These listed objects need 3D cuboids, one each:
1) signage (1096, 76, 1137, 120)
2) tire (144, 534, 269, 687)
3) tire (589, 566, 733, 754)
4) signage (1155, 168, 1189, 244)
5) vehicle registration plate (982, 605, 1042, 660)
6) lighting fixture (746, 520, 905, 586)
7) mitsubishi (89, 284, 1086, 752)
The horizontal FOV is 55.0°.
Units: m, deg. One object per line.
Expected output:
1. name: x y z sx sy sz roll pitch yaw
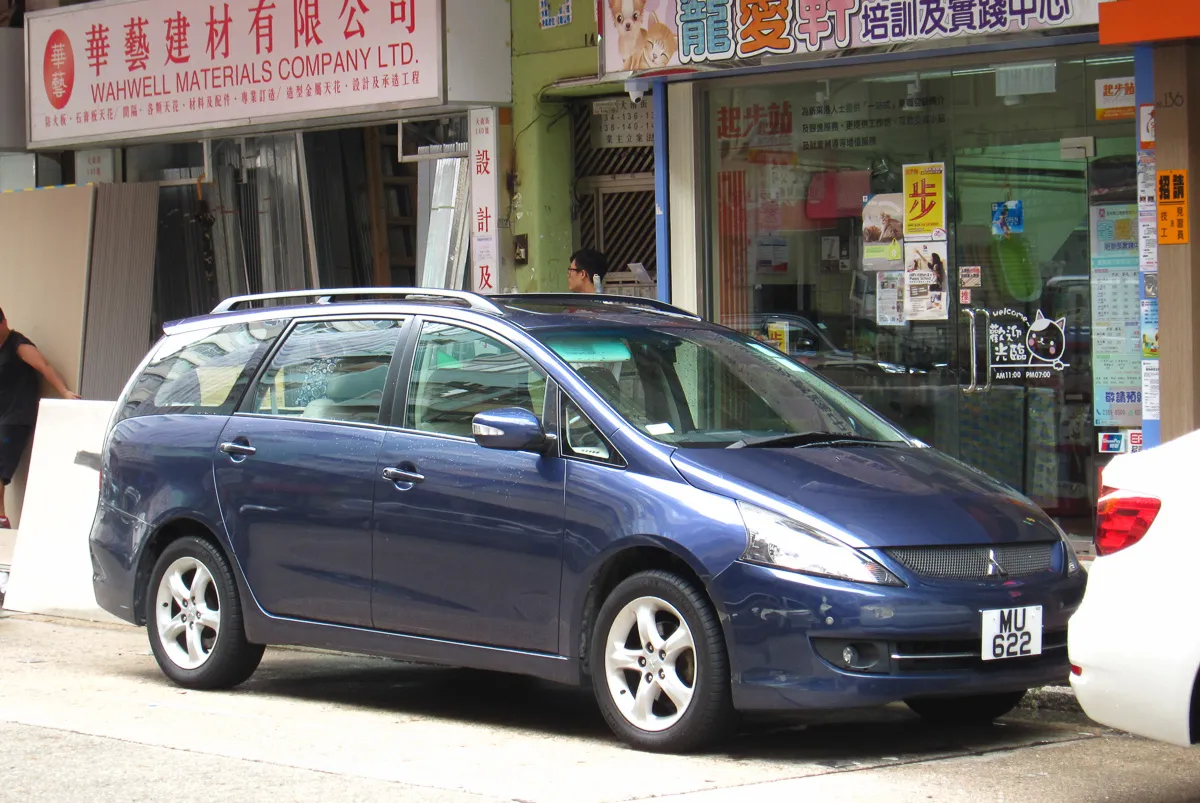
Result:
1. signage: 4.399 -2.566 9.770 0.040 0.361 0.395 3 -9 -41
2. tire: -2.529 1.357 7.489 1.032 1.011 0.357 1 -1 40
3. tire: 0.194 1.327 5.819 0.901 0.869 0.282 15 -21 -42
4. signage: 4.594 -1.549 9.224 0.225 0.600 0.040 -1 -1 24
5. vehicle registration plate: 2.002 1.111 5.579 0.416 0.235 0.076 0 -1 -36
6. lighting fixture: 1.007 0.764 5.455 0.531 0.184 0.323 22 -19 -19
7. mitsubishi: -0.196 0.673 7.063 5.103 1.956 2.751 -1 -3 31
